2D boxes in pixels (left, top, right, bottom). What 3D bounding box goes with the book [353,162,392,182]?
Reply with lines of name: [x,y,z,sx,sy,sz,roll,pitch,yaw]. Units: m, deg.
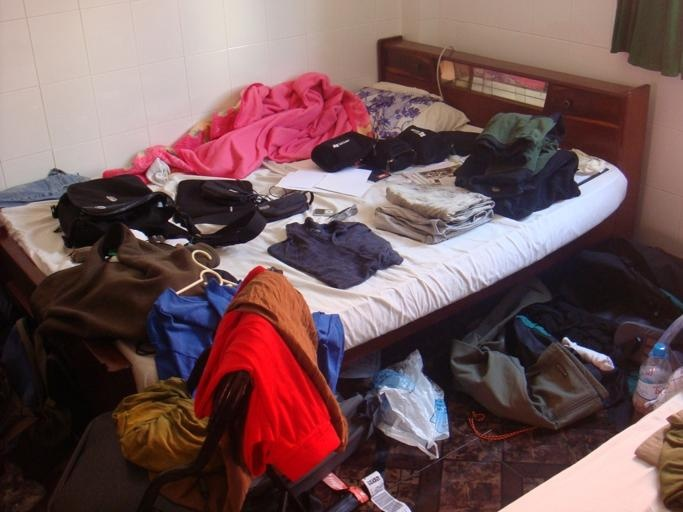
book: [0.178,-0.450,2.723,0.153,0.056,0.112,-24,39,-36]

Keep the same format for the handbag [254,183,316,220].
handbag: [-0.267,-0.255,2.449,0.238,0.073,0.141,-20,39,-27]

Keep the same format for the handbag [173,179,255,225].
handbag: [-0.600,-0.263,2.444,0.287,0.102,0.299,-17,41,-26]

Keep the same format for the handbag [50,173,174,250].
handbag: [-1.007,-0.189,2.256,0.481,0.173,0.628,-23,35,-33]
